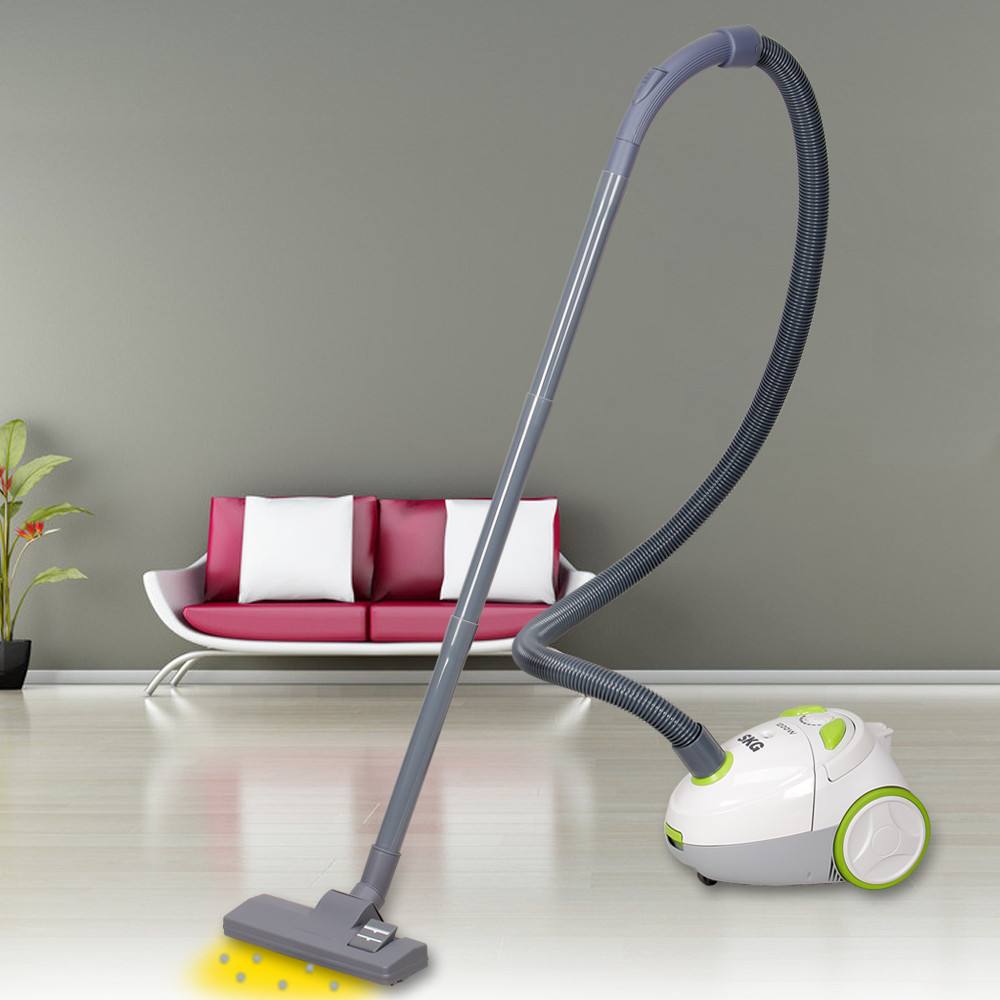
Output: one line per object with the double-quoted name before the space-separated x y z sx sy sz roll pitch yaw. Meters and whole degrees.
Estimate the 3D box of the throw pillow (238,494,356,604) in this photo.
"throw pillow" -0.772 0.190 4.094 0.464 0.366 0.111 1 -11 -1

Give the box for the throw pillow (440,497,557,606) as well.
"throw pillow" 0.019 0.185 3.585 0.486 0.370 0.144 1 -29 4
